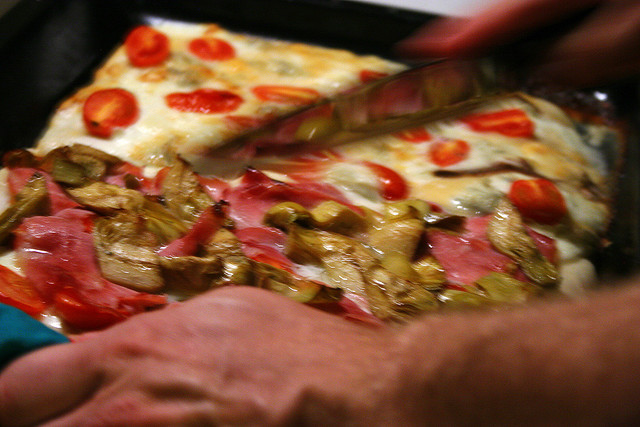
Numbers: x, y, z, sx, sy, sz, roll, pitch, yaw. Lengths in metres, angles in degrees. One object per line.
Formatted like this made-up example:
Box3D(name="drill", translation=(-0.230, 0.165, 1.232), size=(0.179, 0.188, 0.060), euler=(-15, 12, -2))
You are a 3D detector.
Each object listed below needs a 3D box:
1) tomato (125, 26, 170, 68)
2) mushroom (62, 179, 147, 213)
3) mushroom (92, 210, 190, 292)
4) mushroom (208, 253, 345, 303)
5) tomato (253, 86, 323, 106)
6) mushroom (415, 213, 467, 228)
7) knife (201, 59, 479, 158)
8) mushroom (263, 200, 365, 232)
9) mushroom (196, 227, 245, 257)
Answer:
Box3D(name="tomato", translation=(-0.222, -0.212, 0.774), size=(0.100, 0.019, 0.049), euler=(0, 67, -9))
Box3D(name="mushroom", translation=(-0.227, -0.018, 0.634), size=(0.087, 0.010, 0.034), euler=(7, 21, 6))
Box3D(name="mushroom", translation=(-0.185, 0.034, 0.604), size=(0.142, 0.024, 0.078), euler=(5, 47, -8))
Box3D(name="mushroom", translation=(-0.040, 0.065, 0.600), size=(0.137, 0.014, 0.046), euler=(10, 47, 4))
Box3D(name="tomato", translation=(-0.039, -0.144, 0.751), size=(0.086, 0.008, 0.028), euler=(3, 19, 3))
Box3D(name="mushroom", translation=(0.130, 0.006, 0.660), size=(0.046, 0.006, 0.020), euler=(7, 12, -11))
Box3D(name="knife", translation=(0.038, -0.118, 0.708), size=(0.334, 0.082, 0.058), euler=(-16, 63, -19))
Box3D(name="mushroom", translation=(-0.009, 0.008, 0.655), size=(0.117, 0.040, 0.017), euler=(-1, 92, -24))
Box3D(name="mushroom", translation=(-0.097, 0.025, 0.627), size=(0.052, 0.010, 0.037), euler=(-21, 46, -13))
